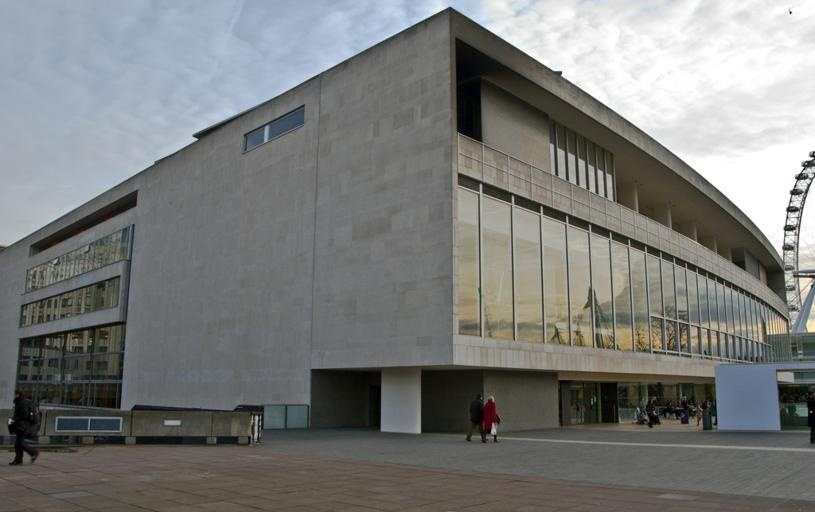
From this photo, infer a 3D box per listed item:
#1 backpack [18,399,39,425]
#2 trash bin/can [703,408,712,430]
[{"bbox_3d":[-12.434,5.124,19.854,0.437,0.695,0.755,-16,-13,13],"label":"backpack"},{"bbox_3d":[16.728,9.146,33.952,0.436,1.152,0.913,-7,-18,15],"label":"trash bin/can"}]
